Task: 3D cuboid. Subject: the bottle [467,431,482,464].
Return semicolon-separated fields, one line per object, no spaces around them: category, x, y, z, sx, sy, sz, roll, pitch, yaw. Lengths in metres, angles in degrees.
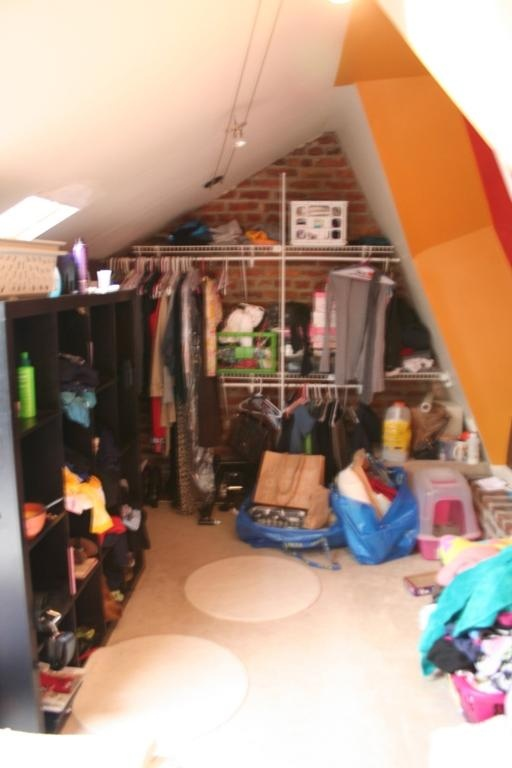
bottle;1.314;0.383;3.425;0.156;0.185;0.075;-4;6;-35

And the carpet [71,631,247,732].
carpet;-0.339;1.051;1.997;0.290;0.015;0.285;6;15;19

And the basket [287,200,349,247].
basket;0.394;-1.041;3.676;0.417;0.319;0.267;0;5;0

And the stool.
stool;1.028;0.693;3.153;0.306;0.359;0.488;-1;-1;-1

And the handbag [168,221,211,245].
handbag;-0.439;-0.989;3.773;0.197;0.072;0.208;-13;45;-7

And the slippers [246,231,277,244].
slippers;0.025;-0.974;3.780;0.207;0.124;0.194;1;6;3

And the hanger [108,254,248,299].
hanger;-0.481;-0.739;3.744;0.970;0.368;0.671;0;6;-1

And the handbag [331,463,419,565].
handbag;0.670;0.725;3.220;0.454;0.476;0.370;-18;7;-15

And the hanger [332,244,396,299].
hanger;0.691;-0.726;3.670;0.517;0.388;0.180;0;-6;7

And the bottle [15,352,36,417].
bottle;-0.677;0.003;1.679;0.049;0.189;0.171;-2;6;-21

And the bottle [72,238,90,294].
bottle;-0.664;-0.444;2.164;0.055;0.197;0.103;2;5;14

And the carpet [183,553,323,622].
carpet;-0.020;0.980;2.702;0.648;0.028;0.569;0;6;0

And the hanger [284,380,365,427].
hanger;0.474;0.135;3.929;0.381;0.131;0.297;-2;47;8

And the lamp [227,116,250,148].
lamp;-0.091;-1.207;2.733;0.135;0.154;0.085;-1;2;0

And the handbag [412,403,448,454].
handbag;1.106;0.300;3.702;0.111;0.318;0.219;6;2;-21

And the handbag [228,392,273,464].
handbag;-0.018;0.318;3.966;0.336;0.464;0.159;-5;-17;34
